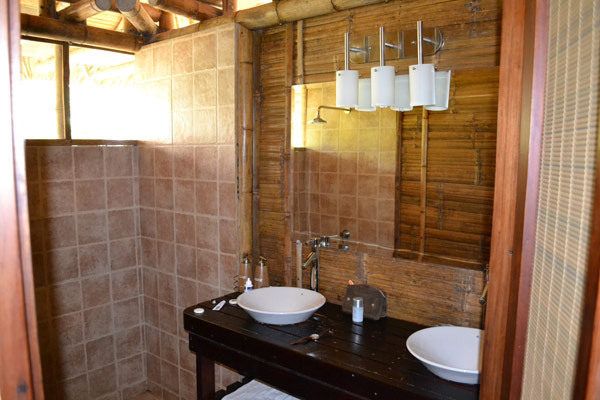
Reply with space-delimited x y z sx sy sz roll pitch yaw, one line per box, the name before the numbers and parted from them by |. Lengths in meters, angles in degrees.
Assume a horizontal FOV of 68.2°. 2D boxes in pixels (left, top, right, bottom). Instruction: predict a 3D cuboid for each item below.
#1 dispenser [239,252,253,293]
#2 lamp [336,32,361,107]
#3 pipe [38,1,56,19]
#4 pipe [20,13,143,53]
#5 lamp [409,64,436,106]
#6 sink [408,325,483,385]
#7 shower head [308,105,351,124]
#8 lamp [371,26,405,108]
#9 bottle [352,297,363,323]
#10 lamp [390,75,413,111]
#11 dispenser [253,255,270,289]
dispenser | -0.357 0.492 2.938 0.103 0.217 0.121 -5 10 -19
lamp | 0.270 -0.735 2.514 0.123 0.407 0.205 1 10 18
pipe | -1.728 -1.290 3.025 0.104 0.138 0.139 -7 10 -29
pipe | -1.574 -1.222 3.249 0.152 0.155 1.108 -6 10 21
lamp | 0.621 -0.579 2.245 0.151 0.192 0.102 -3 9 -5
sink | 0.714 0.736 2.174 0.314 0.172 0.507 2 9 23
shower head | 0.166 -0.508 2.697 0.231 0.102 0.095 1 4 -42
lamp | 0.463 -0.704 2.382 0.139 0.405 0.208 3 11 29
bottle | 0.320 0.618 2.509 0.059 0.132 0.046 -1 9 3
lamp | 0.559 -0.582 2.435 0.172 0.189 0.169 1 7 1
dispenser | -0.272 0.477 2.934 0.099 0.169 0.239 -3 9 -8
